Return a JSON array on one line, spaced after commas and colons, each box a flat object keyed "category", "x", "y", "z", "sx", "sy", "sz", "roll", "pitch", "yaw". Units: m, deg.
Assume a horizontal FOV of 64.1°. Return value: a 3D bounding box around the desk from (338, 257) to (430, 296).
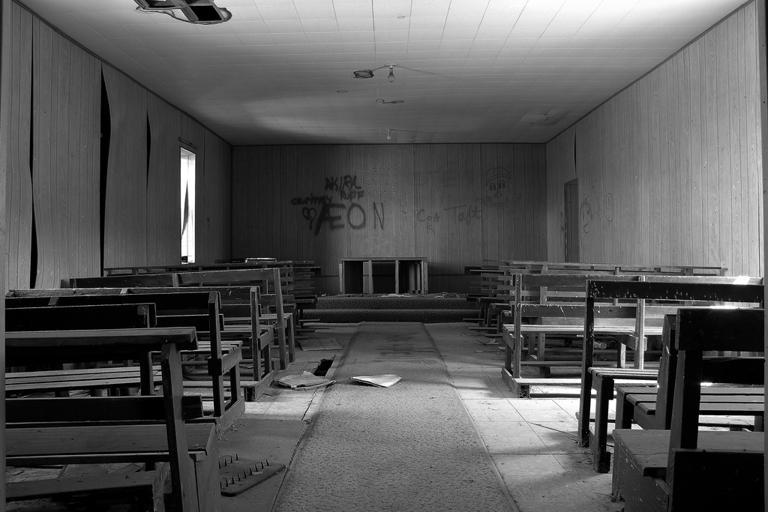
[{"category": "desk", "x": -0.008, "y": 0.457, "z": 14.696, "sx": 2.111, "sy": 0.902, "sz": 1.690, "roll": 1, "pitch": 2, "yaw": 4}]
